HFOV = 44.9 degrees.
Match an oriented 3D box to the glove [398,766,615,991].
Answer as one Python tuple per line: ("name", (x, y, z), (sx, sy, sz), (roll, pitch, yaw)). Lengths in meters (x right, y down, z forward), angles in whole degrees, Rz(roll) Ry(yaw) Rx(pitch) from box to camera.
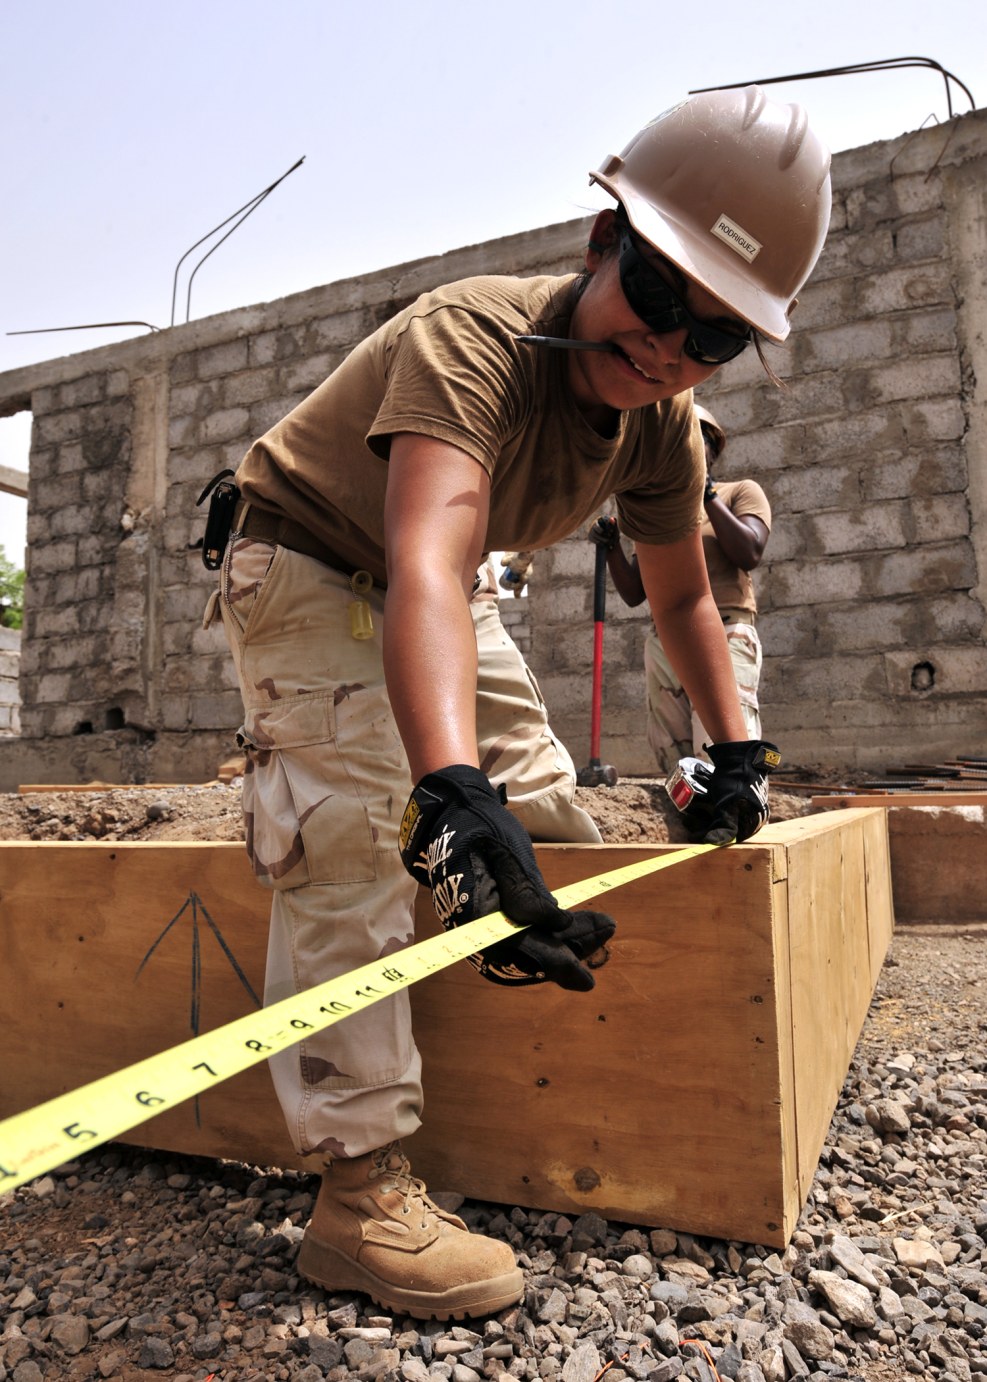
("glove", (0.061, 0.166, 1.314), (0.235, 0.222, 0.297), (-1, 7, -45))

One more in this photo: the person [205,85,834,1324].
("person", (-0.084, -0.095, 1.826), (1.051, 1.736, 0.857), (2, 4, 30))

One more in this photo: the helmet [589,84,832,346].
("helmet", (0.354, -0.723, 1.752), (0.141, 0.424, 0.430), (14, -7, 36))

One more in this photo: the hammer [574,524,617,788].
("hammer", (0.427, -0.124, 4.967), (0.209, 1.126, 0.213), (1, 9, 2))

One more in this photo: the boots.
("boots", (-0.112, 0.736, 1.653), (0.331, 0.195, 0.144), (-3, -11, 33))

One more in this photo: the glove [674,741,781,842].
("glove", (0.405, 0.175, 2.026), (0.201, 0.084, 0.143), (-14, 44, -43))

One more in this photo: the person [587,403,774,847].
("person", (0.651, -0.213, 4.134), (0.468, 1.339, 0.502), (4, -11, -44))

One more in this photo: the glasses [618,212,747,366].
("glasses", (0.267, -0.553, 1.678), (0.210, 0.062, 0.204), (31, 22, -32))
